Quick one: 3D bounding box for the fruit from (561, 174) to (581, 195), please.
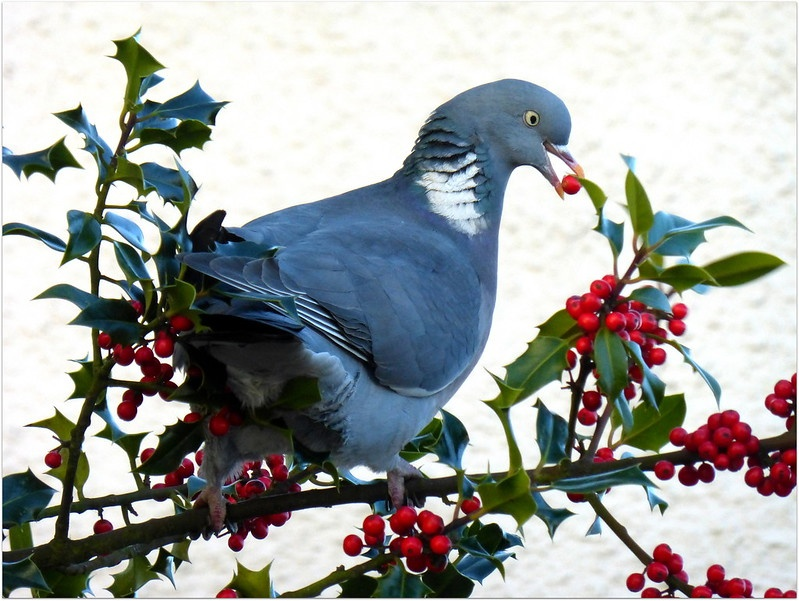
[{"bbox_3d":[0.269,-0.182,2.756,0.030,0.037,0.031,-10,22,6],"label":"fruit"}]

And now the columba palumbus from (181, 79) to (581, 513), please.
[{"bbox_3d":[-0.091,-0.024,2.816,0.406,0.735,0.913,0,-6,37],"label":"columba palumbus"}]
